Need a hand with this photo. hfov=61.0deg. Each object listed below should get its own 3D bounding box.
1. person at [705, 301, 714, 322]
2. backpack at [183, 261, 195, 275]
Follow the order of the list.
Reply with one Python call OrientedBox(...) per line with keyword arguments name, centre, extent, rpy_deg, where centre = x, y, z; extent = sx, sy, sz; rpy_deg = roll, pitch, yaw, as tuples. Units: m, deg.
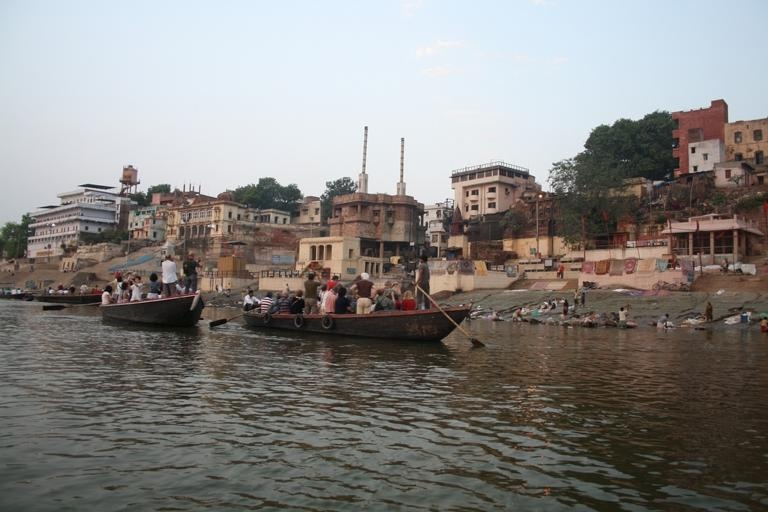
OrientedBox(name="person", centre=(16.465, 2.813, 33.022), extent=(0.415, 0.917, 1.676), rpy_deg=(2, 1, 26))
OrientedBox(name="backpack", centre=(-7.984, 0.494, 26.928), extent=(0.425, 0.634, 0.825), rpy_deg=(1, 1, -30))
